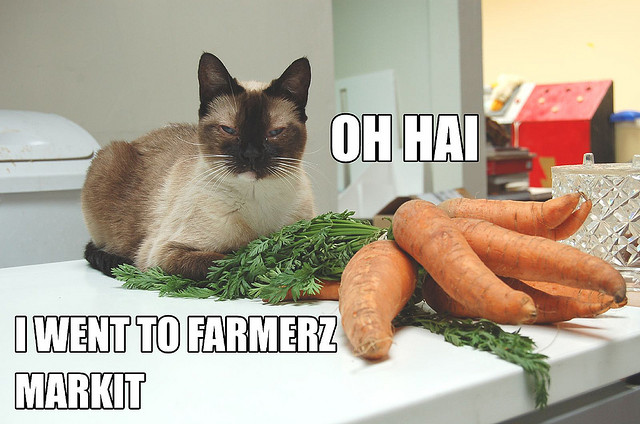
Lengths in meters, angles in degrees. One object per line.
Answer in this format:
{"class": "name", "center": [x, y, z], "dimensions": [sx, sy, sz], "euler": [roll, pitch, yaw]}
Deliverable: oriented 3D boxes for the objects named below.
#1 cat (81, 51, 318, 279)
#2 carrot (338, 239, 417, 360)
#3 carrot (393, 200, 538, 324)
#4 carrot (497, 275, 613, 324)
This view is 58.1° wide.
{"class": "cat", "center": [-0.369, -0.118, 1.614], "dimensions": [0.655, 0.595, 0.382], "euler": [4, 8, 35]}
{"class": "carrot", "center": [0.126, 0.165, 1.238], "dimensions": [0.114, 0.098, 0.270], "euler": [33, 27, -12]}
{"class": "carrot", "center": [0.295, 0.110, 1.271], "dimensions": [0.135, 0.126, 0.472], "euler": [-10, 31, -16]}
{"class": "carrot", "center": [0.513, 0.193, 1.239], "dimensions": [0.152, 0.033, 0.085], "euler": [11, -29, -4]}
